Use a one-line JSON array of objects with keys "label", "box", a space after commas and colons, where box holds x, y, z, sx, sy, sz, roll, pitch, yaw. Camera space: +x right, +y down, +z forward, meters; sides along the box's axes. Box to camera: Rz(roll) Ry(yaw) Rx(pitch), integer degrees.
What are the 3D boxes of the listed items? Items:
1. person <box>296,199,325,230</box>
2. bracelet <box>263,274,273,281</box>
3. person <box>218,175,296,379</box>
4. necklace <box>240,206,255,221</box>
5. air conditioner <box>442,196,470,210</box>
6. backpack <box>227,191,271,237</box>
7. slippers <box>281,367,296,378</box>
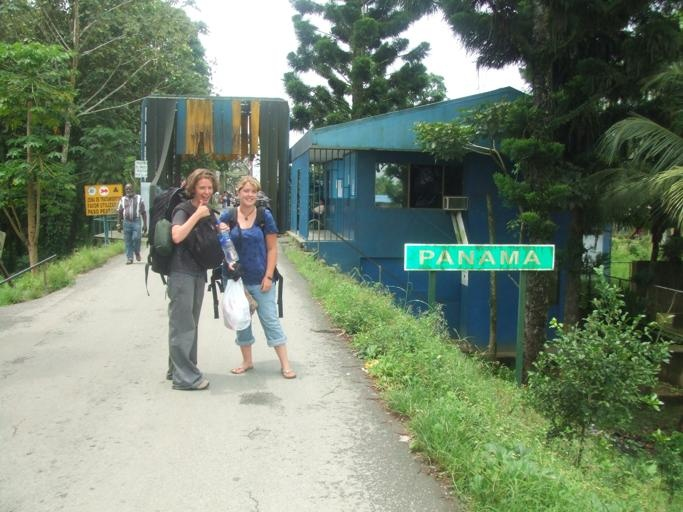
[{"label": "person", "box": [-1.237, -1.607, 26.670, 1.025, 1.607, 1.059, 5, 17, 5]}, {"label": "bracelet", "box": [-0.872, 0.256, 8.341, 0.078, 0.079, 0.198, 3, 5, 29]}, {"label": "person", "box": [-1.036, 0.318, 8.355, 0.947, 2.478, 0.796, 0, 20, -4]}, {"label": "necklace", "box": [-1.152, -0.524, 8.252, 0.113, 0.175, 0.040, 0, 1, -4]}, {"label": "air conditioner", "box": [3.845, -1.762, 22.790, 0.793, 0.522, 0.839, 1, 5, 7]}, {"label": "backpack", "box": [-1.157, -0.554, 8.422, 0.502, 0.538, 0.357, -13, 17, -36]}, {"label": "slippers", "box": [-0.668, 1.503, 8.716, 0.087, 0.146, 0.201, 1, -8, -14]}]
